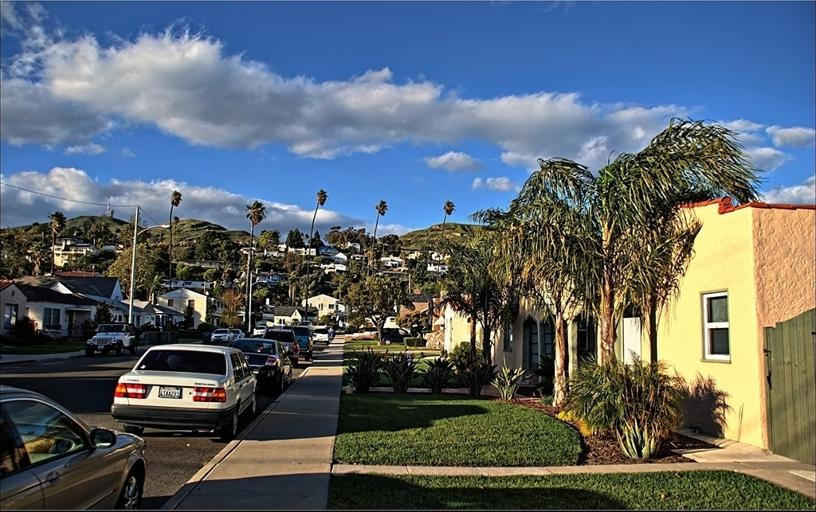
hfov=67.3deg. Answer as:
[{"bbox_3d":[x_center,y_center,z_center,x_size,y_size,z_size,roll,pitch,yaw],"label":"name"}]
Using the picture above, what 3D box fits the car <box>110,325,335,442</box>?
[{"bbox_3d":[-5.391,3.265,15.079,2.533,2.212,2.431,1,-9,3],"label":"car"}]
